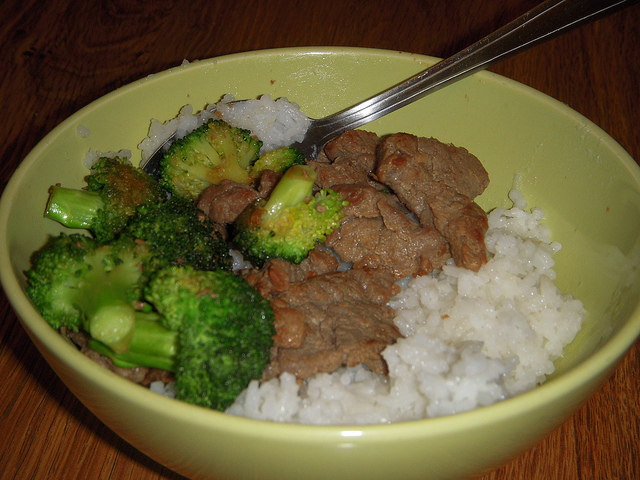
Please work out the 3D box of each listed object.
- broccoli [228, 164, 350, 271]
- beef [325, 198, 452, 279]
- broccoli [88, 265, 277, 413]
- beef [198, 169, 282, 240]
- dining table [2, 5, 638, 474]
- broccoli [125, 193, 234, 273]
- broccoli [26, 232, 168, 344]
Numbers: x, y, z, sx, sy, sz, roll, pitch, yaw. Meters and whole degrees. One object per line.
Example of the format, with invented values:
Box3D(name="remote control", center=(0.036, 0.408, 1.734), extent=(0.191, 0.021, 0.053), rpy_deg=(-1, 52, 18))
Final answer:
Box3D(name="broccoli", center=(-0.092, -0.077, 2.019), extent=(0.383, 0.114, 0.276), rpy_deg=(-44, 99, -18))
Box3D(name="beef", center=(0.243, 0.001, 2.113), extent=(0.304, 0.046, 0.248), rpy_deg=(14, 81, 5))
Box3D(name="broccoli", center=(-0.357, 0.232, 1.671), extent=(0.480, 0.445, 0.378), rpy_deg=(19, 78, 0))
Box3D(name="beef", center=(-0.270, -0.139, 2.125), extent=(0.235, 0.229, 0.067), rpy_deg=(-48, 127, -9))
Box3D(name="dining table", center=(-0.049, -0.616, 2.869), extent=(2.265, 0.483, 1.907), rpy_deg=(1, 66, -4))
Box3D(name="broccoli", center=(-0.421, -0.014, 1.909), extent=(0.201, 0.304, 0.241), rpy_deg=(-2, 103, -16))
Box3D(name="broccoli", center=(-0.650, 0.056, 1.769), extent=(0.338, 0.227, 0.326), rpy_deg=(-17, 113, -43))
